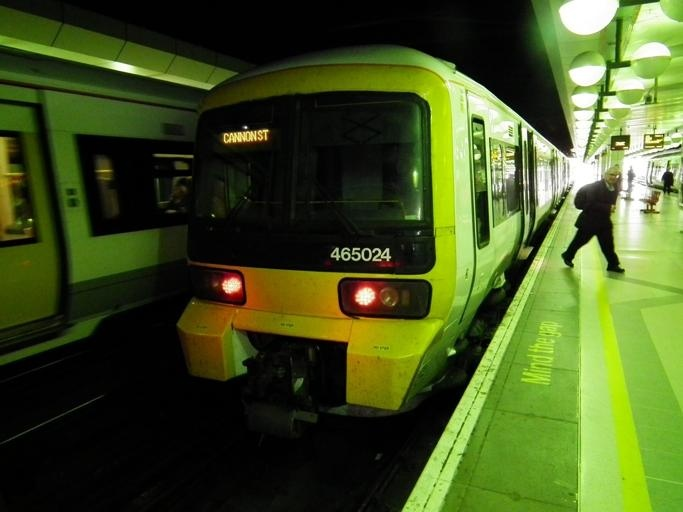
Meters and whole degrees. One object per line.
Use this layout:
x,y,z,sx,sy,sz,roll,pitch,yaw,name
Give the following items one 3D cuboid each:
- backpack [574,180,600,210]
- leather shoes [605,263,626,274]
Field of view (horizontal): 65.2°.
4.330,-1.061,9.412,0.221,0.492,0.346,-9,9,-44,backpack
4.918,0.235,9.572,0.285,0.289,0.137,-3,6,38,leather shoes
